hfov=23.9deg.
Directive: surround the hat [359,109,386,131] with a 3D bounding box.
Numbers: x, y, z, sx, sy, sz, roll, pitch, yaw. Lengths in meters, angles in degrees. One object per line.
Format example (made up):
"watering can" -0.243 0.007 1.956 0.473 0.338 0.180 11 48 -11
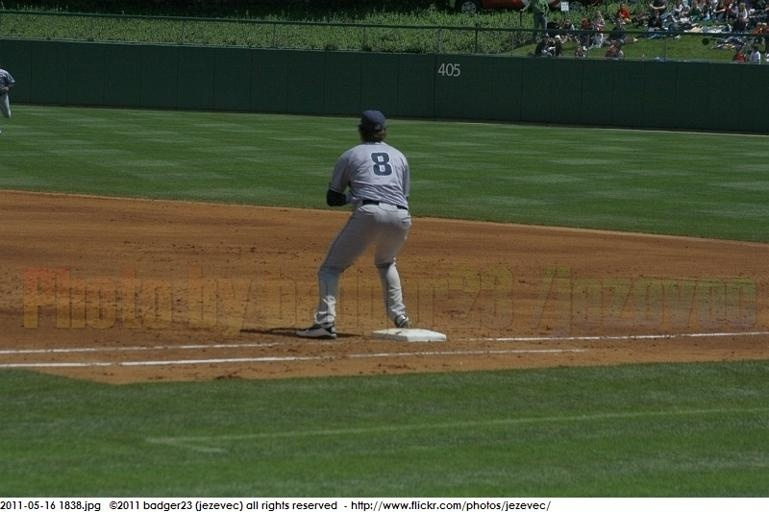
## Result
"hat" -0.313 -2.750 36.631 0.455 0.255 0.546 1 16 -10
